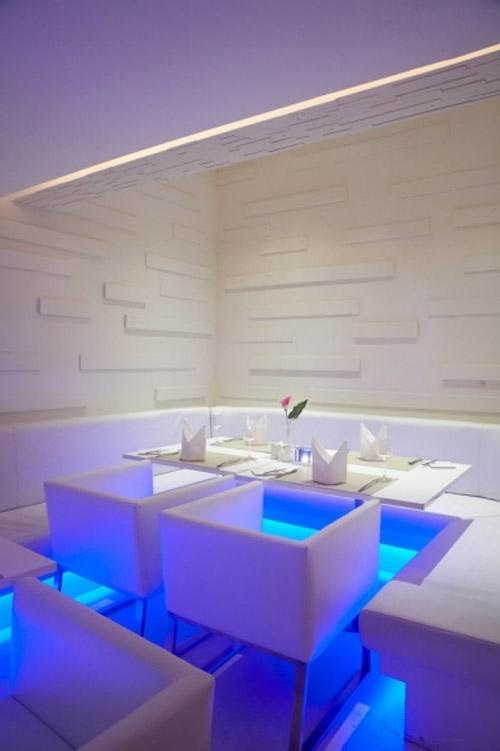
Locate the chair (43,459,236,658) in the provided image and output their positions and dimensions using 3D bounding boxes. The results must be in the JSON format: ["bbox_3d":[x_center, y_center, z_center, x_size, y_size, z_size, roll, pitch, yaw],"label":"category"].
[{"bbox_3d":[-0.476,0.649,2.252,0.629,0.640,0.684,4,8,34],"label":"chair"}]

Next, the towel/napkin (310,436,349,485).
[{"bbox_3d":[0.375,0.355,2.199,0.196,0.258,0.163,2,5,24],"label":"towel/napkin"}]

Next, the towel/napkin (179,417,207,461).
[{"bbox_3d":[-0.332,0.336,2.678,0.169,0.238,0.157,4,5,32],"label":"towel/napkin"}]

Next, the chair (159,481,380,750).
[{"bbox_3d":[0.077,0.724,1.930,0.603,0.780,0.707,3,8,35],"label":"chair"}]
